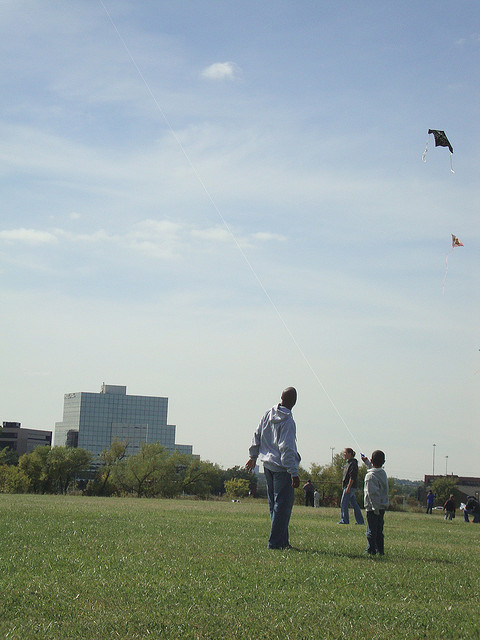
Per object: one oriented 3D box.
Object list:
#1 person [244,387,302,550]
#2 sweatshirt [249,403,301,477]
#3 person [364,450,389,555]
[{"bbox_3d":[0.456,1.741,8.921,0.469,1.885,1.033,8,-10,-24],"label":"person"},{"bbox_3d":[0.442,1.448,9.097,0.702,0.756,0.318,7,-4,36],"label":"sweatshirt"},{"bbox_3d":[1.748,2.309,9.526,0.300,1.265,0.727,3,-9,11],"label":"person"}]
